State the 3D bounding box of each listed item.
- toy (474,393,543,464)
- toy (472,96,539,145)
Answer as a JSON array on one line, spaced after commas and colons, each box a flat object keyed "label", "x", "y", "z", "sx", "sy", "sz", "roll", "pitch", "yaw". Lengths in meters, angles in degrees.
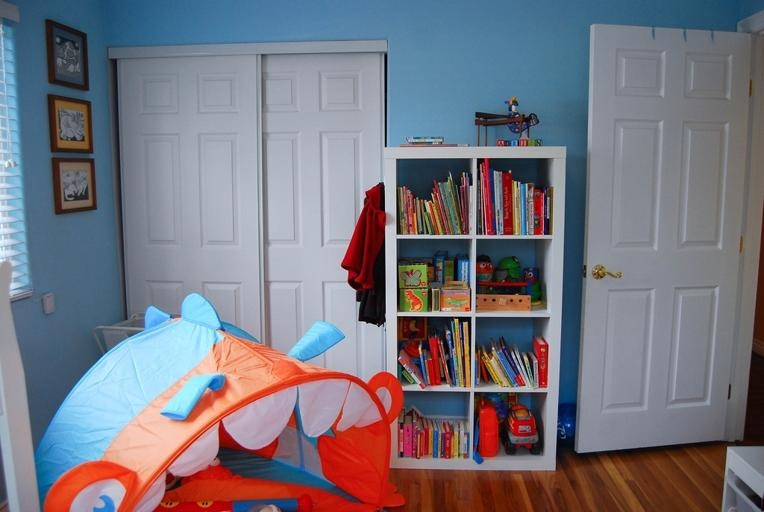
[{"label": "toy", "x": 0.788, "y": 1.108, "z": 3.647, "sx": 0.276, "sy": 0.215, "sz": 0.471, "roll": 0, "pitch": 2, "yaw": 3}, {"label": "toy", "x": 0.754, "y": -0.882, "z": 3.630, "sx": 0.481, "sy": 0.410, "sz": 0.258, "roll": -2, "pitch": 17, "yaw": -1}]
